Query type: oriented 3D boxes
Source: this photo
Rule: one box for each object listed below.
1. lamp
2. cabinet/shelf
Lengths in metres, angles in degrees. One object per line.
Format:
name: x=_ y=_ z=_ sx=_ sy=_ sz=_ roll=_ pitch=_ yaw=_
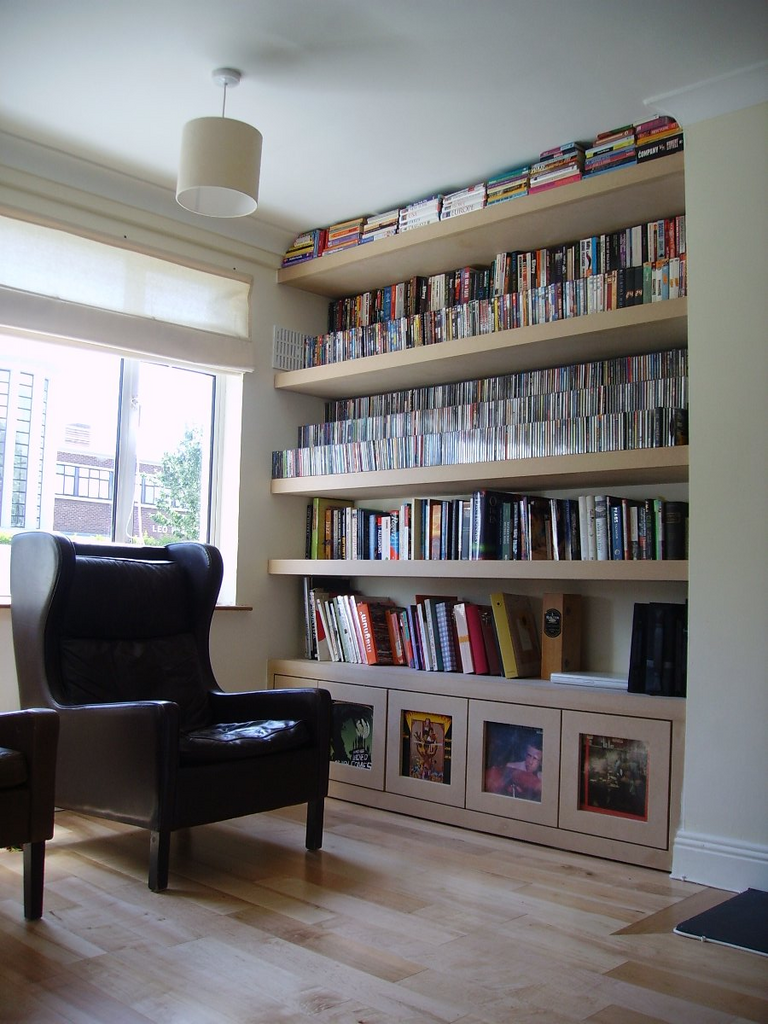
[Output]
lamp: x=-0.495 y=-1.159 z=2.498 sx=0.229 sy=0.408 sz=0.233 roll=6 pitch=2 yaw=33
cabinet/shelf: x=0.393 y=-0.015 z=3.079 sx=0.709 sy=2.216 sz=2.355 roll=6 pitch=-6 yaw=-44
